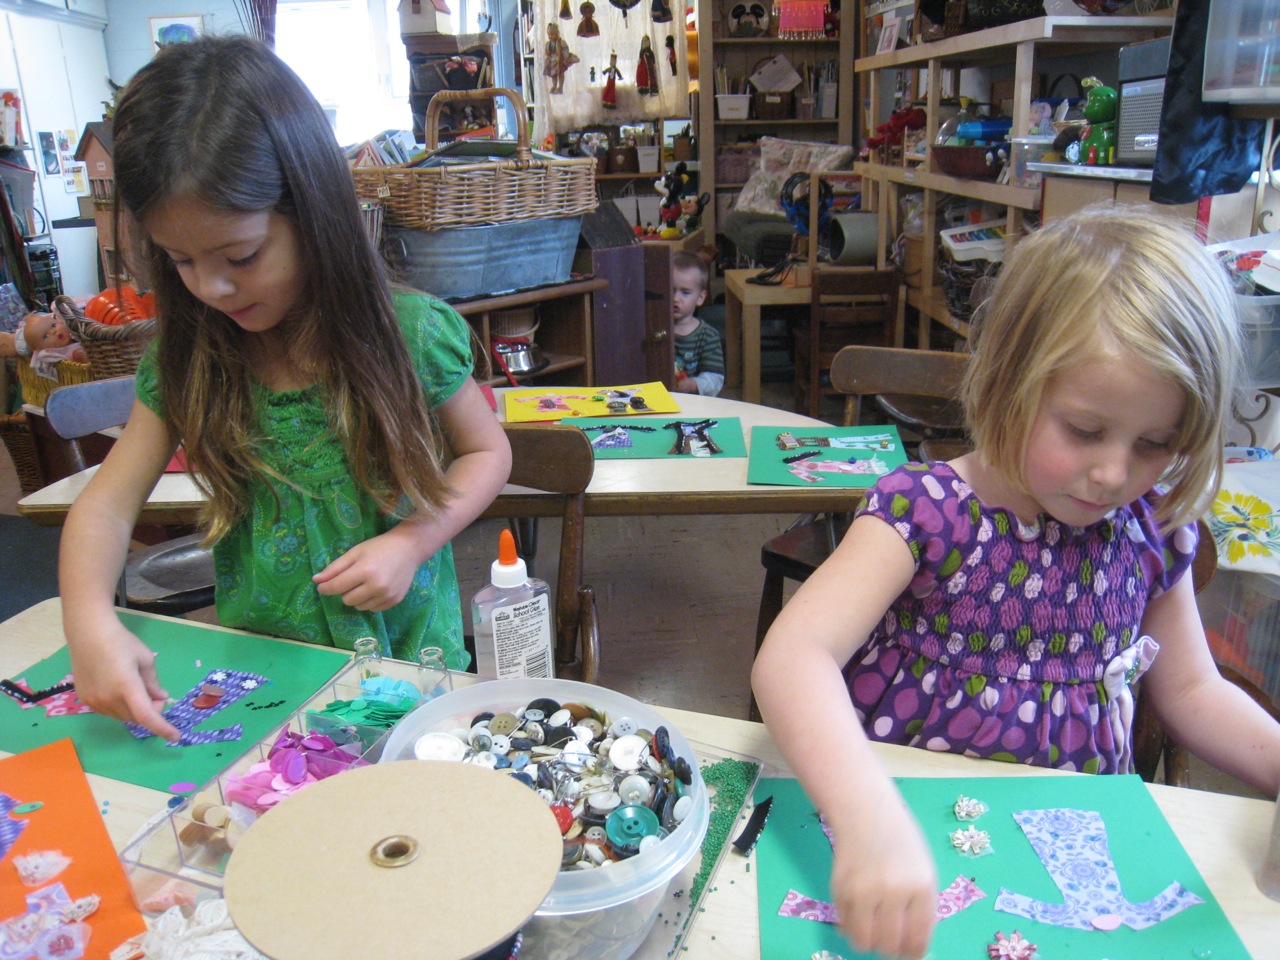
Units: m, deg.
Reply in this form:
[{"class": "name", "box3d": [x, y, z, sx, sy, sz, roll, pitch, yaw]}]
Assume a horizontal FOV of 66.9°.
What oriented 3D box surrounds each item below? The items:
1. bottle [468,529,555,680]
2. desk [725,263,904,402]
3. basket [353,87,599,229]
[{"class": "bottle", "box3d": [-0.138, 0.155, 1.079, 0.076, 0.212, 0.047, -16, 32, -23]}, {"class": "desk", "box3d": [0.998, -0.681, 4.447, 0.675, 0.384, 0.689, -2, 15, -23]}, {"class": "basket", "box3d": [-0.439, -0.852, 2.788, 0.632, 0.351, 0.503, -14, 31, -24]}]
